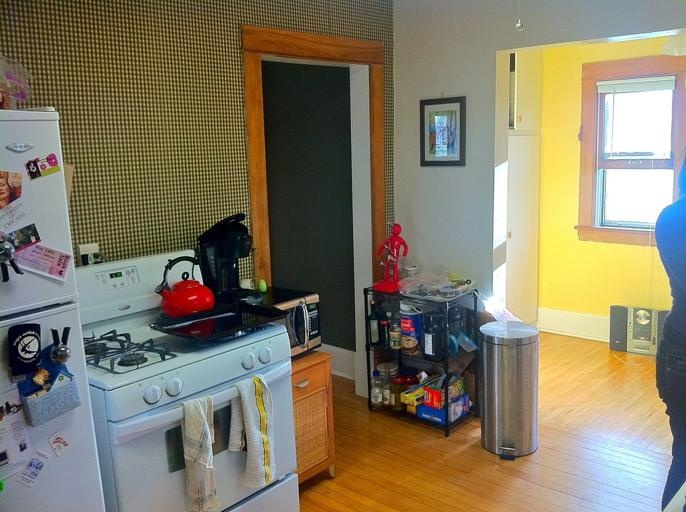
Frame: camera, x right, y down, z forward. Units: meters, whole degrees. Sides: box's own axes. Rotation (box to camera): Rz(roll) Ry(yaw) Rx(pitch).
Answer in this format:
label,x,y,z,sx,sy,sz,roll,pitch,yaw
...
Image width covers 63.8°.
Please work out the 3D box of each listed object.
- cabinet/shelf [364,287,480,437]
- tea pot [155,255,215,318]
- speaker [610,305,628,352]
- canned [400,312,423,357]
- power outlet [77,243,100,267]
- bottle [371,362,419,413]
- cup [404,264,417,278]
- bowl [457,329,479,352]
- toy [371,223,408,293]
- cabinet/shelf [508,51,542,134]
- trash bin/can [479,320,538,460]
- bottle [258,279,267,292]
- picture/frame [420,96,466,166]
label,x,y,z,sx,sy,sz,roll,pitch,yaw
cabinet/shelf,0.595,0.710,4.216,0.746,0.978,0.515,5,11,38
tea pot,-0.852,0.147,2.940,0.349,0.358,0.242,-5,7,-44
speaker,2.614,0.683,5.219,0.153,0.430,0.061,4,14,29
canned,0.504,0.560,4.070,0.157,0.305,0.094,-1,12,6
power outlet,-1.349,-0.006,2.905,0.051,0.107,0.105,-6,2,31
bottle,0.379,1.000,4.348,0.406,0.439,0.244,2,8,22
cup,0.548,0.115,4.437,0.084,0.107,0.092,-7,6,1
bowl,0.931,0.632,4.104,0.098,0.153,0.200,8,17,40
toy,0.379,-0.021,4.332,0.276,0.487,0.566,-1,13,7
cabinet/shelf,1.721,-1.554,5.198,0.239,0.786,0.977,3,14,24
trash bin/can,1.119,0.925,3.699,0.369,0.813,0.256,2,13,18
bottle,-0.504,0.185,3.507,0.063,0.092,0.064,-2,5,0
picture/frame,0.774,-0.968,4.272,0.370,0.551,0.012,-1,-12,10
